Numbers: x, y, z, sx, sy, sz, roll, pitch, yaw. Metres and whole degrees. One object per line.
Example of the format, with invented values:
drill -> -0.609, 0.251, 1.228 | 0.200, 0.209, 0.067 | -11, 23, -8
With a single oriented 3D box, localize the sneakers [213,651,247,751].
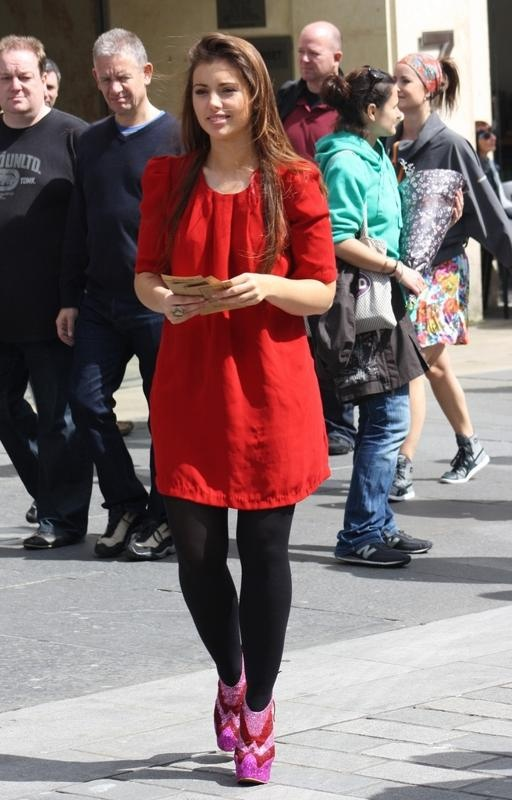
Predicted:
sneakers -> -0.059, 0.670, 1.932 | 0.069, 0.181, 0.083 | 0, -7, 5

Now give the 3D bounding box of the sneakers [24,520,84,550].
sneakers -> -1.074, 0.723, 4.633 | 0.115, 0.094, 0.321 | -8, -11, 29

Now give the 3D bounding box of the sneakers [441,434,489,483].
sneakers -> 1.443, 0.413, 6.048 | 0.342, 0.231, 0.138 | -38, 22, -11

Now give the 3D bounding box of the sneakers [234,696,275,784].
sneakers -> 0.001, 0.695, 1.761 | 0.060, 0.068, 0.171 | 0, 1, 3

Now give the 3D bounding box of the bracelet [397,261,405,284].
bracelet -> 0.638, -0.560, 3.883 | 0.022, 0.077, 0.062 | 6, 20, 2

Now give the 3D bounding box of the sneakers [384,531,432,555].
sneakers -> 0.722, 0.686, 4.187 | 0.223, 0.082, 0.118 | 5, 5, -1

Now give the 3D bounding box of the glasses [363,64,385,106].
glasses -> 0.531, -1.384, 3.884 | 0.136, 0.159, 0.063 | 2, -10, -13

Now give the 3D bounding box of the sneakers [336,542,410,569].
sneakers -> 0.548, 0.723, 4.120 | 0.339, 0.118, 0.124 | 0, 0, 13

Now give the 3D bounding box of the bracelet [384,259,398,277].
bracelet -> 0.596, -0.577, 3.818 | 0.025, 0.060, 0.051 | 35, -2, -2

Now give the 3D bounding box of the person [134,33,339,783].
person -> -0.077, 0.015, 1.880 | 0.462, 1.582, 0.488 | 0, 8, 13

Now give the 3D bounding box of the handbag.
handbag -> 0.506, -0.429, 3.818 | 0.192, 0.278, 0.136 | -3, 8, -6

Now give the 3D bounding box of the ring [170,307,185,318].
ring -> -0.158, -0.175, 1.759 | 0.021, 0.027, 0.011 | -36, 10, 43
